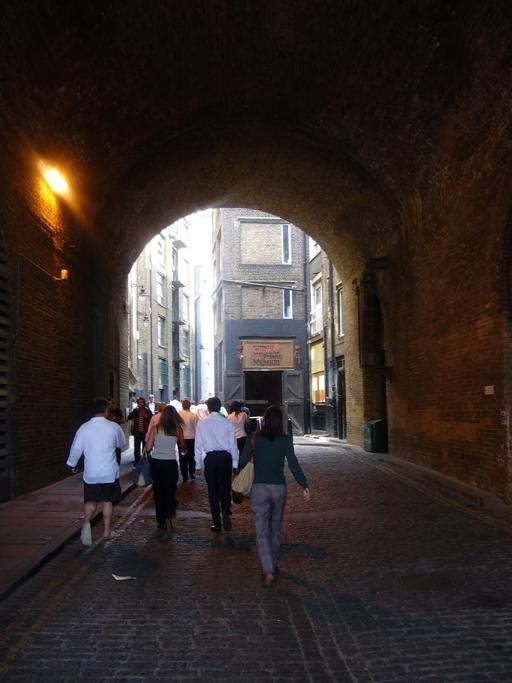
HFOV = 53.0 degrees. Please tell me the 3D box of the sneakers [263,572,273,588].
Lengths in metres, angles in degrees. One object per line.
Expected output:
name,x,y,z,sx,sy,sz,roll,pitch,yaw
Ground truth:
sneakers,0.101,1.887,4.067,0.052,0.084,0.125,2,-53,-2
